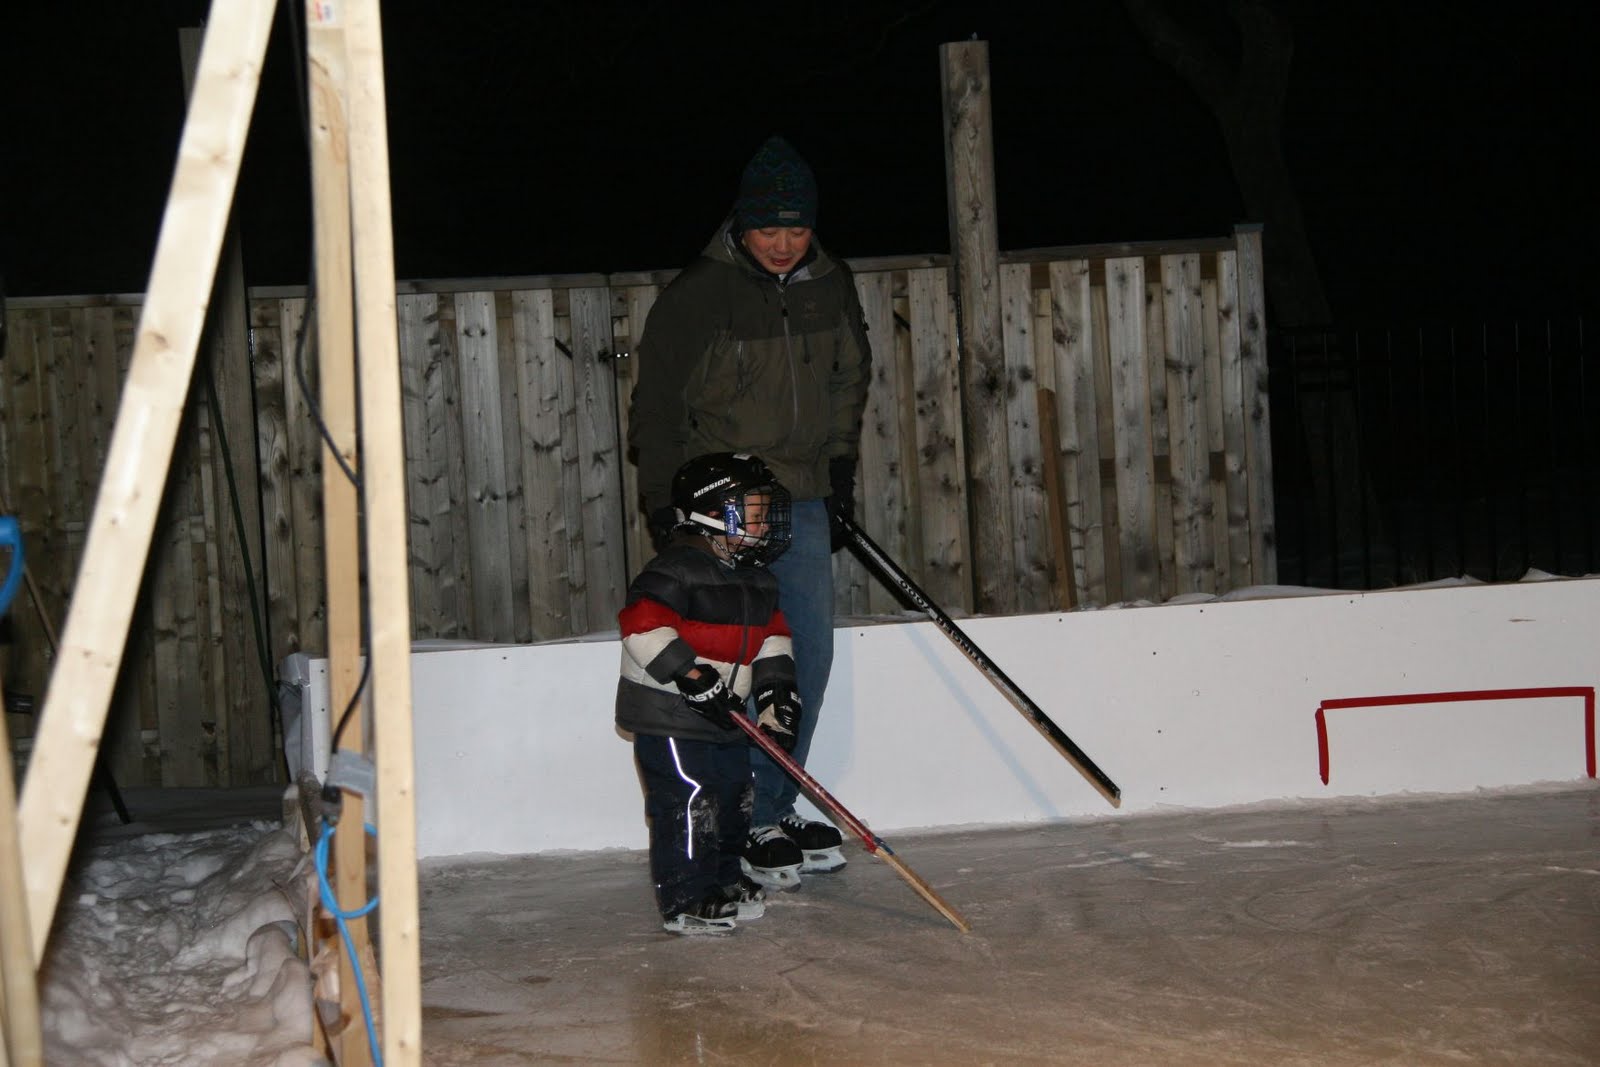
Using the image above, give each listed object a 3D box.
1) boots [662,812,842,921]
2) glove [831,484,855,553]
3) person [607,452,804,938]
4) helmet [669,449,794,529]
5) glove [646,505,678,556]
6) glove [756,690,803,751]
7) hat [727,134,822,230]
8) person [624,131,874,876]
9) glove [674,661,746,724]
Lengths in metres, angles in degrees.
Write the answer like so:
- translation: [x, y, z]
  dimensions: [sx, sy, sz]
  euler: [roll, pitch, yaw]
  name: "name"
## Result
- translation: [-0.091, 1.379, 7.593]
  dimensions: [0.924, 0.564, 0.284]
  euler: [2, -3, -28]
  name: "boots"
- translation: [0.182, -0.064, 8.041]
  dimensions: [0.151, 0.219, 0.215]
  euler: [0, 1, -5]
  name: "glove"
- translation: [-0.364, 0.622, 7.292]
  dimensions: [0.711, 1.887, 0.375]
  euler: [0, -2, -1]
  name: "person"
- translation: [-0.298, -0.134, 7.466]
  dimensions: [0.460, 0.414, 0.369]
  euler: [-1, -4, 21]
  name: "helmet"
- translation: [-0.569, -0.024, 7.562]
  dimensions: [0.118, 0.161, 0.170]
  euler: [0, 2, 0]
  name: "glove"
- translation: [-0.094, 0.737, 7.424]
  dimensions: [0.105, 0.246, 0.176]
  euler: [-35, -19, 36]
  name: "glove"
- translation: [-0.100, -1.451, 7.746]
  dimensions: [0.324, 0.406, 0.350]
  euler: [4, -4, -31]
  name: "hat"
- translation: [-0.151, -0.019, 8.035]
  dimensions: [1.022, 3.336, 0.732]
  euler: [-4, 16, -6]
  name: "person"
- translation: [-0.347, 0.614, 7.127]
  dimensions: [0.189, 0.258, 0.086]
  euler: [-47, 9, -27]
  name: "glove"
